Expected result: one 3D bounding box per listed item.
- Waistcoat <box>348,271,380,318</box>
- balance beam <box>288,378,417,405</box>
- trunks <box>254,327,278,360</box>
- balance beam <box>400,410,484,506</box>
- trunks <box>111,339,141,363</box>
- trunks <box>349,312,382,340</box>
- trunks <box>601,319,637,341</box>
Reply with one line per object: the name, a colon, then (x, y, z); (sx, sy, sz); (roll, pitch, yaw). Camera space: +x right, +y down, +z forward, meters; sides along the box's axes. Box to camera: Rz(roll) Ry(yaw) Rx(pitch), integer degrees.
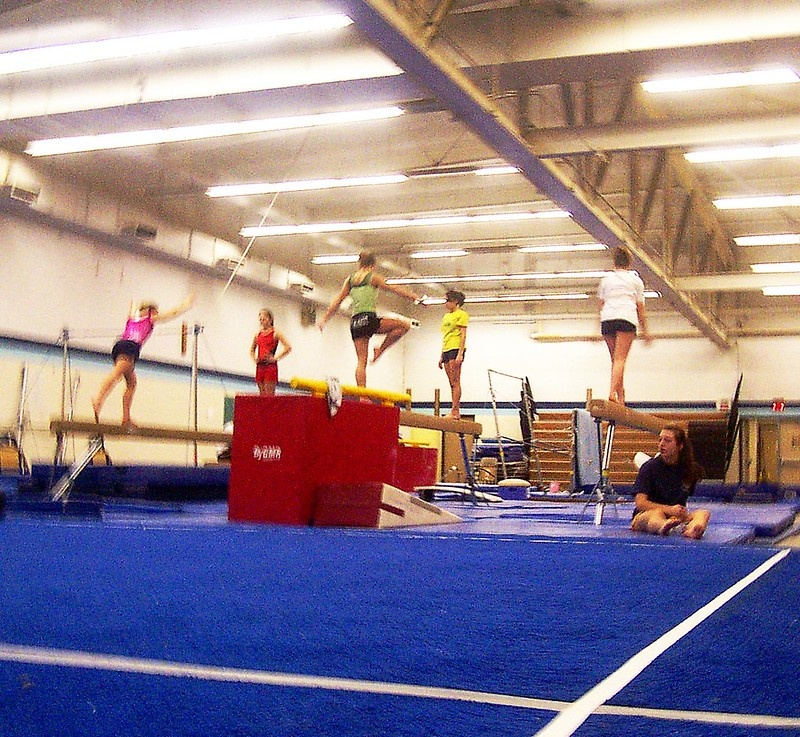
Waistcoat: (-0.303, -0.563, 6.588); (0.246, 0.343, 0.329); (2, -4, 6)
balance beam: (-0.241, 0.136, 5.221); (0.445, 0.183, 2.672); (3, -4, 3)
trunks: (-1.445, -0.226, 9.057); (0.297, 0.338, 0.253); (2, -4, 7)
balance beam: (0.270, 0.483, 6.102); (0.444, 0.926, 0.538); (2, -3, 25)
trunks: (-2.556, -0.161, 7.895); (0.203, 0.197, 0.197); (2, -5, 8)
trunks: (-0.247, -0.336, 6.476); (0.236, 0.249, 0.185); (-1, 16, 16)
trunks: (1.613, -0.282, 6.251); (0.238, 0.123, 0.252); (2, -4, 16)
